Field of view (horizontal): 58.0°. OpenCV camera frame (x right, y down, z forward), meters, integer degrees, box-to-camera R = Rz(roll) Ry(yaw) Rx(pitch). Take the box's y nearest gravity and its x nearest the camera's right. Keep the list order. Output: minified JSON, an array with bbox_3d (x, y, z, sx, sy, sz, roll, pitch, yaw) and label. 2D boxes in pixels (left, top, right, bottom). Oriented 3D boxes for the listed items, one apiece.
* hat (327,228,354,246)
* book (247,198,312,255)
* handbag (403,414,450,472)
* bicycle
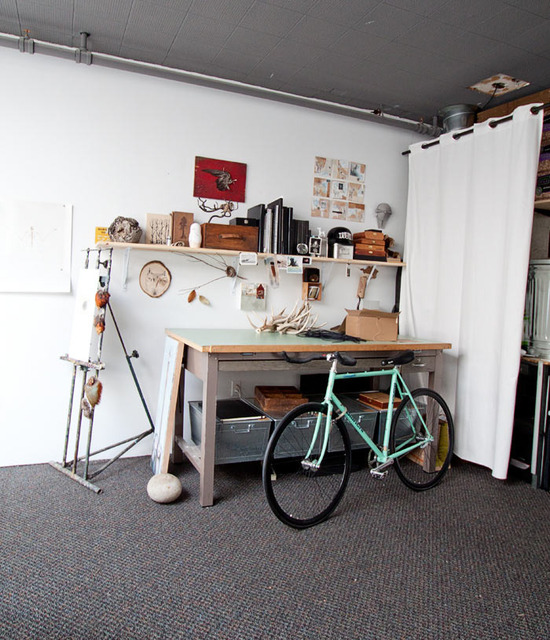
[{"bbox_3d":[0.469,-0.609,3.636,0.145,0.086,0.139,2,0,-12],"label":"hat"},{"bbox_3d":[0.009,-0.625,3.352,0.469,0.419,0.259,0,7,-26],"label":"book"},{"bbox_3d":[1.074,0.827,3.291,0.245,0.306,0.318,5,0,-41],"label":"handbag"},{"bbox_3d":[0.491,0.649,2.851,1.513,0.859,0.581,1,-6,-29],"label":"bicycle"}]
